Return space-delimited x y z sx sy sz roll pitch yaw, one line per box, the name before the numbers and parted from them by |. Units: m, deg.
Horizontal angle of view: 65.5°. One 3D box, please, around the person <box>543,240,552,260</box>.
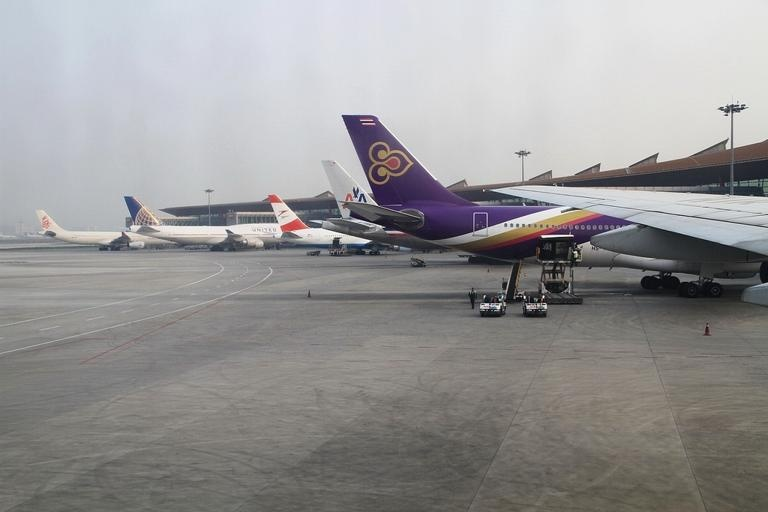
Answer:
person | 6.747 -0.208 24.528 0.390 0.752 0.189 0 5 6
